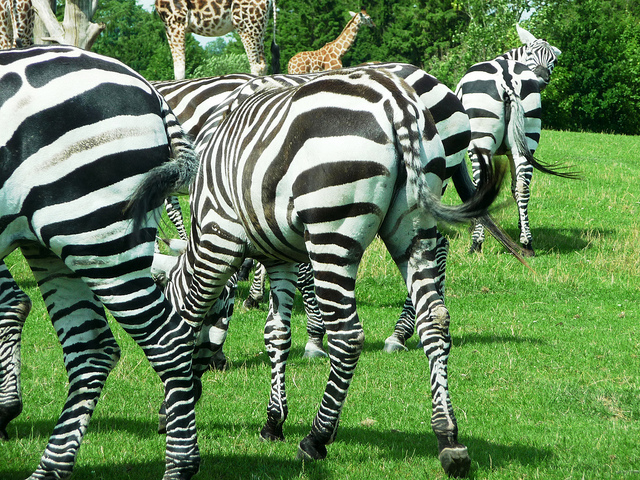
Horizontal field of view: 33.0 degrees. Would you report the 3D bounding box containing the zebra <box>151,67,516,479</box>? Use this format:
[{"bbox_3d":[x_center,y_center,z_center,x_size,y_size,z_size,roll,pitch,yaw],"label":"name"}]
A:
[{"bbox_3d":[0.055,0.266,13.553,4.042,4.719,1.358,10,17,20],"label":"zebra"}]

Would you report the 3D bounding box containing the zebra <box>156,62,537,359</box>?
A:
[{"bbox_3d":[-0.467,-0.137,14.873,1.992,4.297,6.257,-20,14,-33],"label":"zebra"}]

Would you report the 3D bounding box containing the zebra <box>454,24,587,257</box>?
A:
[{"bbox_3d":[3.962,-2.096,22.106,1.639,4.769,6.397,2,7,11],"label":"zebra"}]
